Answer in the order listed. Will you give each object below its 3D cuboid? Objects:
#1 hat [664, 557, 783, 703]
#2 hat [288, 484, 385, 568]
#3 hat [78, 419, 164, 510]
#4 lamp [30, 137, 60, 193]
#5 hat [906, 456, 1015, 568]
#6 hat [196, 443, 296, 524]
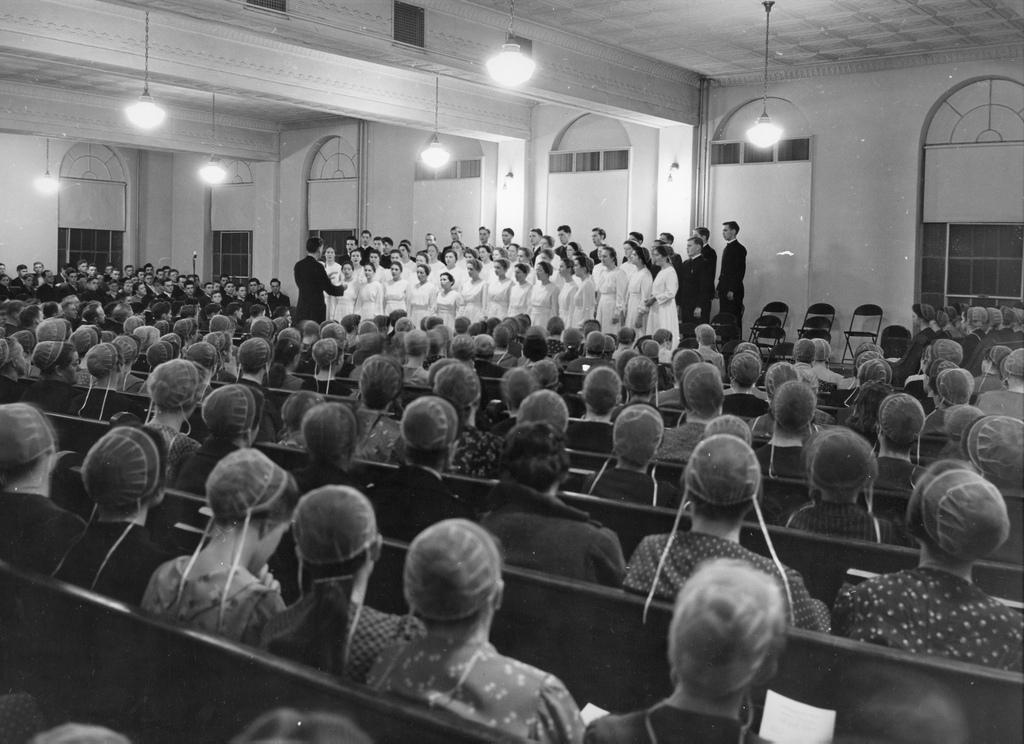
[{"bbox_3d":[0.364,0.440,1.259,0.151,0.212,0.195,8,11,42],"label":"hat"},{"bbox_3d":[-0.460,0.444,2.056,0.214,0.254,0.286,-4,6,10],"label":"hat"},{"bbox_3d":[-1.295,0.314,2.467,0.198,0.263,0.288,1,-4,-14],"label":"hat"},{"bbox_3d":[-12.382,-5.483,19.671,0.684,1.511,2.120,-4,10,-32],"label":"lamp"},{"bbox_3d":[1.241,0.404,2.082,0.234,0.240,0.213,8,11,37],"label":"hat"},{"bbox_3d":[-0.783,0.344,2.329,0.281,0.266,0.227,-3,9,18],"label":"hat"}]
